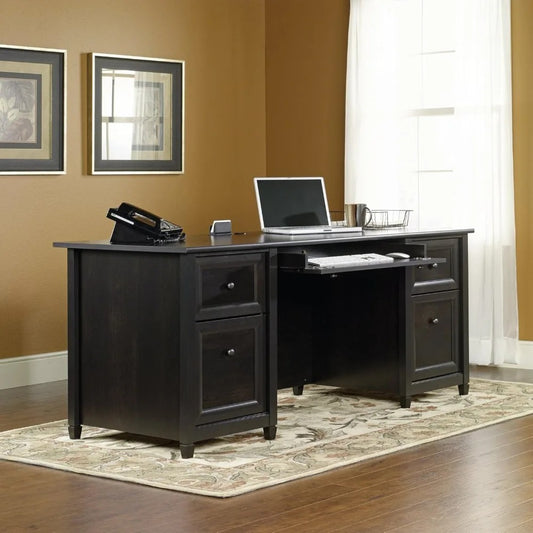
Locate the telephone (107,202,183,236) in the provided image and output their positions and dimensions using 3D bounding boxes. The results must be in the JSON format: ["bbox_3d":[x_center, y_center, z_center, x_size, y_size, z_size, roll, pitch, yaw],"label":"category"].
[{"bbox_3d":[-0.504,-0.180,2.310,0.268,0.140,0.199,-1,-3,25],"label":"telephone"}]

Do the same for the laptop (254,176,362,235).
[{"bbox_3d":[0.139,-0.312,2.794,0.457,0.315,0.126,2,-4,-42],"label":"laptop"}]

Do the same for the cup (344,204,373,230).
[{"bbox_3d":[0.534,-0.286,3.231,0.170,0.207,0.119,2,2,29],"label":"cup"}]

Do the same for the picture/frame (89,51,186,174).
[{"bbox_3d":[-0.929,-1.069,3.861,0.062,1.052,0.764,1,2,44],"label":"picture/frame"}]
